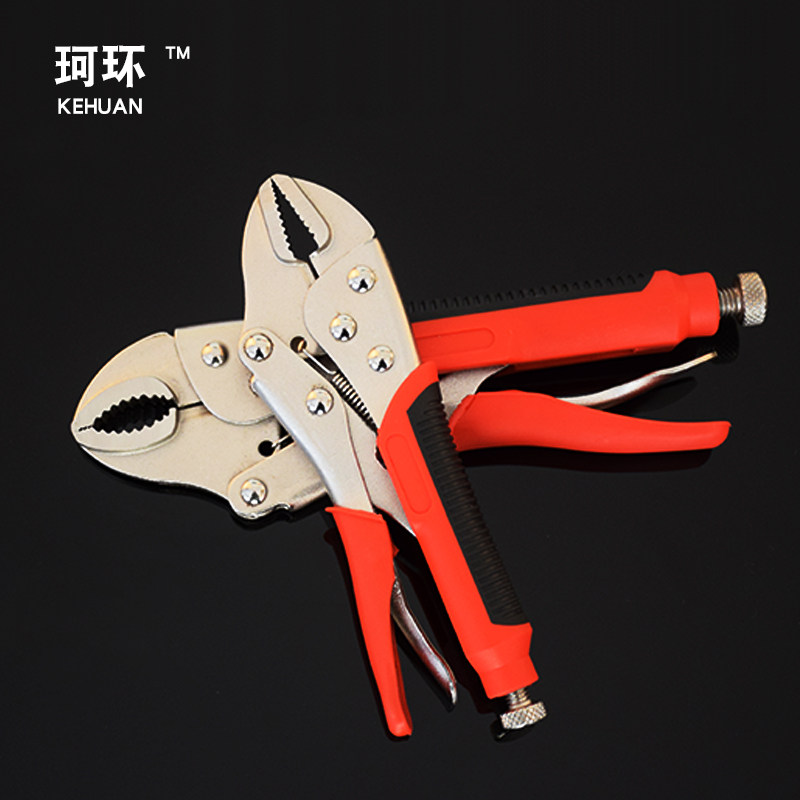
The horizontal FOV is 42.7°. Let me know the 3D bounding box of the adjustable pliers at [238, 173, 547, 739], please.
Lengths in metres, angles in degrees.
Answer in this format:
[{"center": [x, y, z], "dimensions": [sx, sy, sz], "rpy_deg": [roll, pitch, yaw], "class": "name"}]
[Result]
[{"center": [-0.032, 0.040, 1.194], "dimensions": [0.234, 0.101, 0.686], "rpy_deg": [-21, 74, -5], "class": "adjustable pliers"}]
